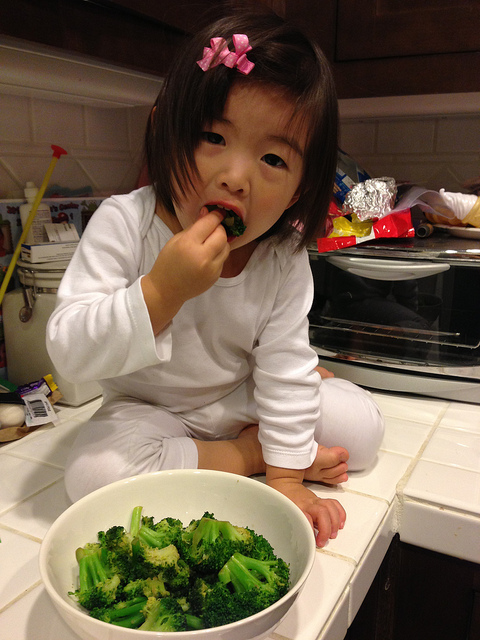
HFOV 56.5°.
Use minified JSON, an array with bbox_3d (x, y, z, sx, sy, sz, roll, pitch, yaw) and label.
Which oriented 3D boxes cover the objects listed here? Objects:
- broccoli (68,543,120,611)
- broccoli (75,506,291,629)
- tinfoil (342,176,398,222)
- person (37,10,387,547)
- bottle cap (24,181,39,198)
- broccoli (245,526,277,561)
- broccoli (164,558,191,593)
[{"bbox_3d":[-0.139,0.239,0.418,0.043,0.022,0.077,-4,8,-24],"label":"broccoli"},{"bbox_3d":[-0.054,0.236,0.418,0.106,0.043,0.100,9,8,39],"label":"broccoli"},{"bbox_3d":[0.322,-0.314,1.132,0.130,0.056,0.172,25,63,26],"label":"tinfoil"},{"bbox_3d":[-0.004,-0.075,0.701,0.564,0.713,0.390,-4,8,-25],"label":"person"},{"bbox_3d":[-0.526,-0.324,1.119,0.037,0.037,0.032,-6,9,-37],"label":"bottle cap"},{"bbox_3d":[0.023,0.231,0.467,0.028,0.016,0.025,38,26,-5],"label":"broccoli"},{"bbox_3d":[-0.057,0.241,0.418,0.024,0.028,0.016,2,2,0],"label":"broccoli"}]
